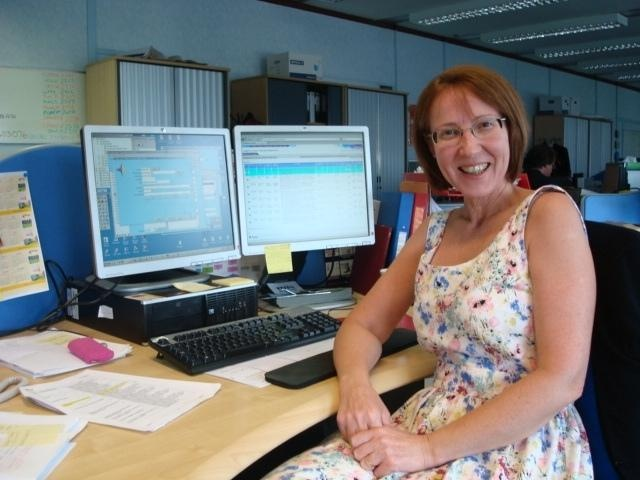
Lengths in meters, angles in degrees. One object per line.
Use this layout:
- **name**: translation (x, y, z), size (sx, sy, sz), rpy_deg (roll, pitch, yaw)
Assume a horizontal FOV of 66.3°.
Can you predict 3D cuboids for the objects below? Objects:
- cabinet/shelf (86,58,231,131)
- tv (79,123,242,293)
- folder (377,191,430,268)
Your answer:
- **cabinet/shelf**: translation (-1.397, -1.284, 4.294), size (1.225, 0.543, 0.556), rpy_deg (-5, 14, -25)
- **tv**: translation (-0.531, -0.100, 1.576), size (0.538, 0.491, 0.300), rpy_deg (-6, 8, -41)
- **folder**: translation (0.309, -0.037, 1.785), size (0.147, 0.247, 0.262), rpy_deg (19, 5, -3)
